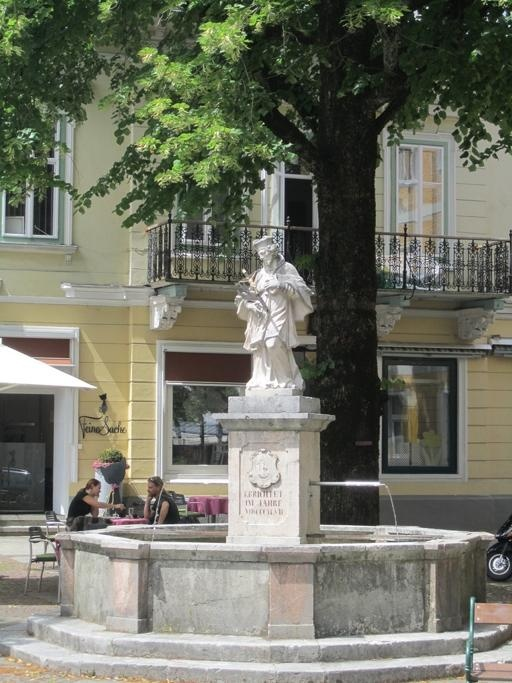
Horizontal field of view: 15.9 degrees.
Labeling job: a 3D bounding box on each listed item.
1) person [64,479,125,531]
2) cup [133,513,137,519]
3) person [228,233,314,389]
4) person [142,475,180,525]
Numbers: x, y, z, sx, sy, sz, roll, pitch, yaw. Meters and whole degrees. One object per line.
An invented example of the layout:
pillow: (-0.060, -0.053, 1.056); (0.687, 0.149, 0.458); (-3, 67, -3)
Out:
person: (-1.821, 1.933, 20.316); (0.559, 0.875, 0.362); (7, -18, 6)
cup: (-1.498, 2.119, 22.467); (0.049, 0.068, 0.092); (-1, 3, -7)
person: (0.124, -0.299, 17.790); (0.700, 1.495, 0.597); (-2, -2, 17)
person: (-1.071, 1.750, 20.406); (0.380, 0.514, 1.292); (-1, -3, -4)
